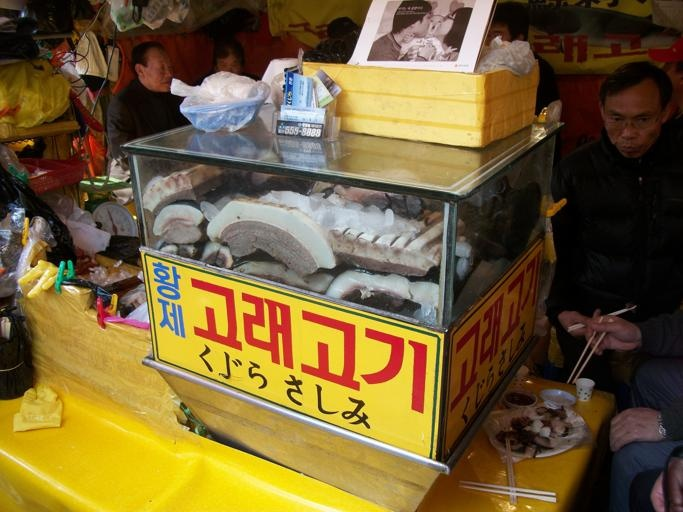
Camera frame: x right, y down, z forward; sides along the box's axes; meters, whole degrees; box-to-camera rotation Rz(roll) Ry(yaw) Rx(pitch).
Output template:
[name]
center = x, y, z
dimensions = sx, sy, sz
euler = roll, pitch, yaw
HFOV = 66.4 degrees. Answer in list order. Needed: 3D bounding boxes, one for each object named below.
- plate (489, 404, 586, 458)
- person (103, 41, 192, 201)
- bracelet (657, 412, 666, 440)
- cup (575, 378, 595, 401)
[plate]
center = 0.744, 0.661, 1.968
dimensions = 0.374, 0.059, 0.204
euler = -5, 24, -6
[person]
center = -1.698, -1.329, 4.474
dimensions = 0.675, 0.913, 0.288
euler = -11, 26, -18
[bracelet]
center = 1.259, 0.679, 2.041
dimensions = 0.017, 0.064, 0.064
euler = -5, 43, 24
[cup]
center = 0.996, 0.544, 2.157
dimensions = 0.092, 0.068, 0.083
euler = 2, 12, 9
